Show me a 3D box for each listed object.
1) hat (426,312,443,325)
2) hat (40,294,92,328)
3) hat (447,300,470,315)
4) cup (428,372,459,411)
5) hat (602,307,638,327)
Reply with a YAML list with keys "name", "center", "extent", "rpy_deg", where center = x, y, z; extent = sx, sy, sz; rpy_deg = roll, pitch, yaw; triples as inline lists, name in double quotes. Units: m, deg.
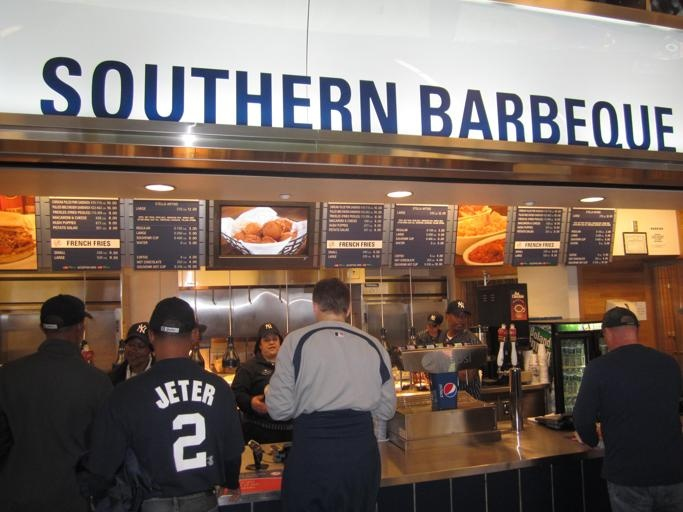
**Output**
- name: "hat"
  center: [1.008, 0.685, 6.068]
  extent: [0.138, 0.133, 0.312]
  rpy_deg: [-4, -11, 13]
- name: "hat"
  center: [-1.469, 0.300, 3.033]
  extent: [0.165, 0.123, 0.220]
  rpy_deg: [2, 9, 20]
- name: "hat"
  center: [1.152, 0.519, 5.609]
  extent: [0.190, 0.144, 0.174]
  rpy_deg: [-2, -10, 2]
- name: "cup"
  center: [0.680, 0.878, 3.647]
  extent: [0.213, 0.234, 0.090]
  rpy_deg: [2, -11, -22]
- name: "hat"
  center: [1.611, 0.366, 3.287]
  extent: [0.119, 0.088, 0.157]
  rpy_deg: [4, -9, -13]
